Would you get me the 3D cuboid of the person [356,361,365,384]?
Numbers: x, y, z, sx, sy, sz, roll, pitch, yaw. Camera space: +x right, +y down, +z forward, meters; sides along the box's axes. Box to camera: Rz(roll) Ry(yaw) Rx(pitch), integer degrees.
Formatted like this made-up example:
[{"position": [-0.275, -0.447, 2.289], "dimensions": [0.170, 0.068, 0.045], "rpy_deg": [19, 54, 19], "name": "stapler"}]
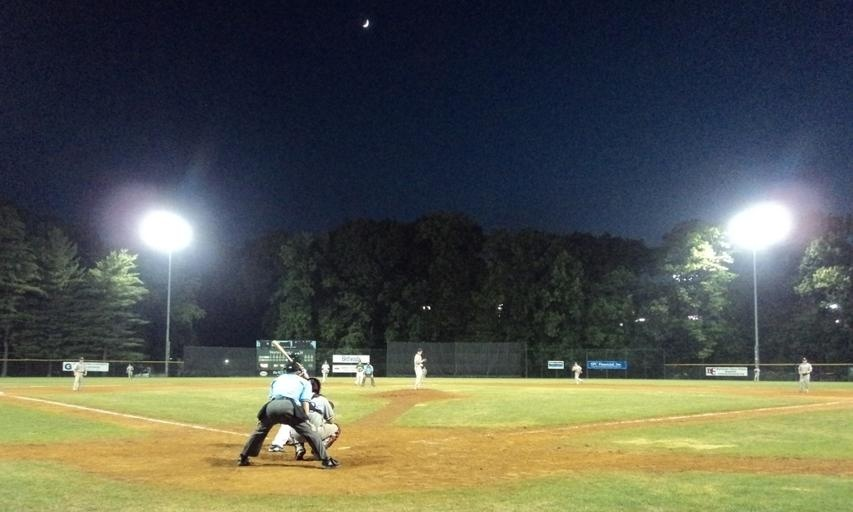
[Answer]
[{"position": [-5.114, 8.949, 59.110], "dimensions": [0.745, 2.053, 0.622], "rpy_deg": [1, 6, -6], "name": "person"}]
